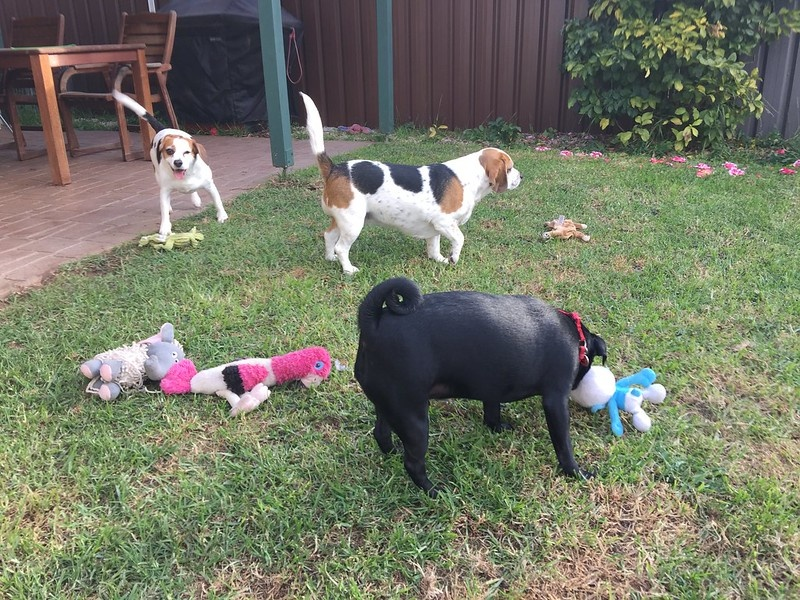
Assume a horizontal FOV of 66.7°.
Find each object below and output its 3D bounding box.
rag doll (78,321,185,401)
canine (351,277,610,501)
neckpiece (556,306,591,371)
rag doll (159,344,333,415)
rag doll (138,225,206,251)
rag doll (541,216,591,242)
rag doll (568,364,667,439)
[{"bbox_3d":[-1.385,0.314,3.144,0.336,0.195,0.460,16,24,29],"label":"rag doll"},{"bbox_3d":[0.388,0.361,2.902,1.287,0.939,0.764,-2,8,-23],"label":"canine"},{"bbox_3d":[0.795,0.176,2.766,0.074,0.227,0.162,-2,4,-5],"label":"neckpiece"},{"bbox_3d":[-0.753,0.390,3.079,0.742,0.299,0.358,-3,19,-7],"label":"rag doll"},{"bbox_3d":[-1.723,-0.447,4.593,0.288,0.093,0.225,-7,13,-3],"label":"rag doll"},{"bbox_3d":[1.328,-0.575,4.825,0.375,0.137,0.364,6,24,11],"label":"rag doll"},{"bbox_3d":[1.060,0.466,2.985,0.390,0.194,0.345,14,30,29],"label":"rag doll"}]
